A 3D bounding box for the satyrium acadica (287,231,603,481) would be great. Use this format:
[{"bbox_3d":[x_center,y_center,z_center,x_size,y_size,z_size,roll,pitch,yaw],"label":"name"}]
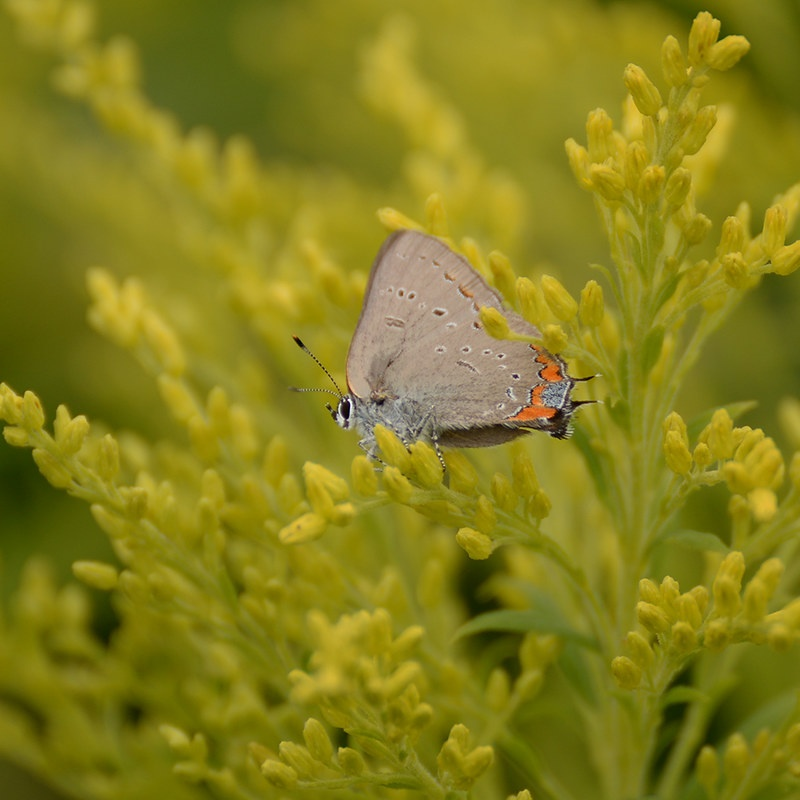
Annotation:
[{"bbox_3d":[0.042,-0.054,1.262,0.329,0.222,0.303,-6,2,-8],"label":"satyrium acadica"}]
